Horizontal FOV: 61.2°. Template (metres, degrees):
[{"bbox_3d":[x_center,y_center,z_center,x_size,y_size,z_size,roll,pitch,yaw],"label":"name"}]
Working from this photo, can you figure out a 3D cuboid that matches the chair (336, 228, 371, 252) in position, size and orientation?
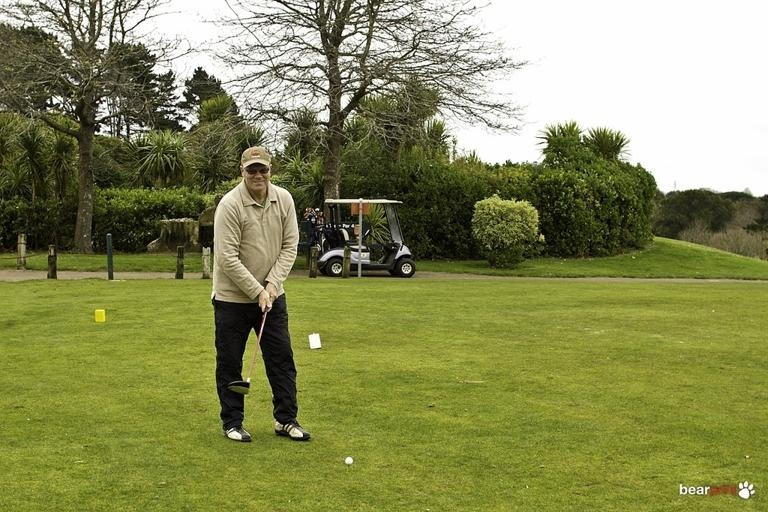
[{"bbox_3d":[-0.888,-0.602,22.477,0.862,0.795,2.032,3,6,18],"label":"chair"}]

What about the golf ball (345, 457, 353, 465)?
[{"bbox_3d":[-0.338,1.921,6.112,0.058,0.059,0.061,1,0,0],"label":"golf ball"}]

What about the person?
[{"bbox_3d":[-1.273,0.370,6.589,0.887,2.919,0.592,-1,6,-15],"label":"person"}]

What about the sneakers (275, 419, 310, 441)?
[{"bbox_3d":[-0.924,1.777,6.668,0.409,0.176,0.150,3,0,22],"label":"sneakers"}]

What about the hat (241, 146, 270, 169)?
[{"bbox_3d":[-1.297,-0.997,6.610,0.262,0.223,0.286,0,6,-8],"label":"hat"}]
